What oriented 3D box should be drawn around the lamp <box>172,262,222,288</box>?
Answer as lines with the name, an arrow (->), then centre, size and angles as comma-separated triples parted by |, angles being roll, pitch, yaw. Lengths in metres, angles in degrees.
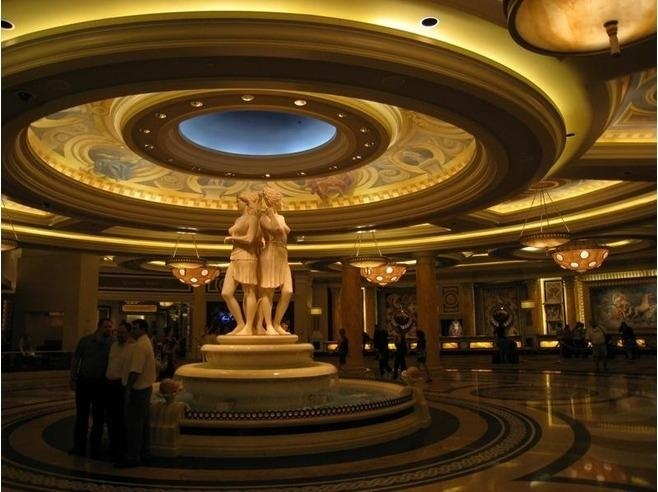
lamp -> -4.656, 0.900, 15.317 | 1.511, 0.506, 1.293 | 1, -14, -1

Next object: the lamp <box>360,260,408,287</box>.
lamp -> 1.996, 0.974, 15.719 | 1.592, 0.514, 1.400 | 3, -12, -18

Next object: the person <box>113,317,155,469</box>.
person -> -2.521, 1.881, 5.829 | 0.383, 1.808, 0.512 | 5, -13, -19

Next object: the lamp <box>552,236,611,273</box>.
lamp -> 7.054, 0.217, 12.600 | 1.343, 0.689, 1.167 | -1, -10, 9

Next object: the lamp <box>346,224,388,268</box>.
lamp -> 1.247, 0.023, 14.617 | 1.316, 0.998, 1.203 | 6, -6, -29

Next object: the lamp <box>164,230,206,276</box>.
lamp -> -5.197, 0.196, 15.815 | 1.756, 1.443, 1.520 | -1, -16, 2

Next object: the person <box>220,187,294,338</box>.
person -> -1.304, 0.240, 8.113 | 1.237, 2.696, 0.705 | 3, -12, -10
